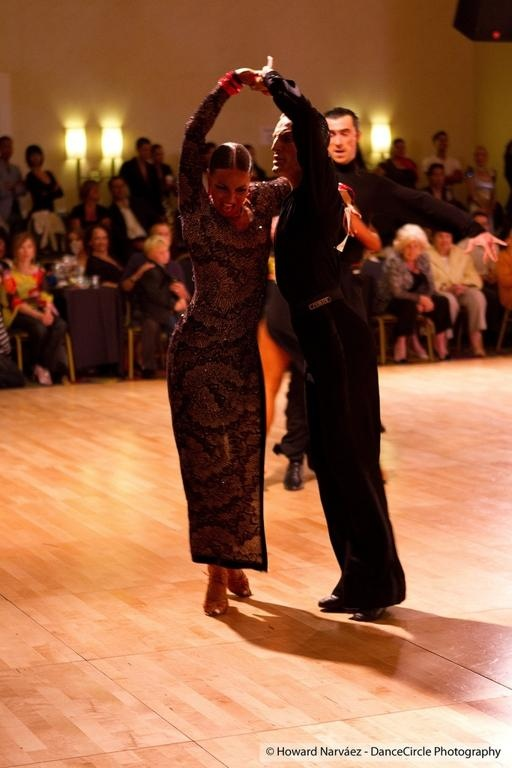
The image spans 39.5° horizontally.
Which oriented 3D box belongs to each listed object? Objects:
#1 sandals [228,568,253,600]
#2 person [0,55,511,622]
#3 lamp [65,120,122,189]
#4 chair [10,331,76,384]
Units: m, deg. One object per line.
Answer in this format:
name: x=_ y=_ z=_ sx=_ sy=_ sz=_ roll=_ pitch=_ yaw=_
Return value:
sandals: x=-0.045 y=0.644 z=2.298 sx=0.052 sy=0.129 sz=0.057 roll=-8 pitch=28 yaw=8
person: x=0.026 y=-0.129 z=1.993 sx=0.510 sy=1.620 sz=0.847 roll=-1 pitch=-3 yaw=-27
lamp: x=-2.381 y=-3.324 z=10.443 sx=0.861 sy=0.938 sz=0.241 roll=-6 pitch=40 yaw=-15
chair: x=-2.223 y=-0.316 z=7.484 sx=0.723 sy=0.586 sz=0.547 roll=-3 pitch=9 yaw=-20
